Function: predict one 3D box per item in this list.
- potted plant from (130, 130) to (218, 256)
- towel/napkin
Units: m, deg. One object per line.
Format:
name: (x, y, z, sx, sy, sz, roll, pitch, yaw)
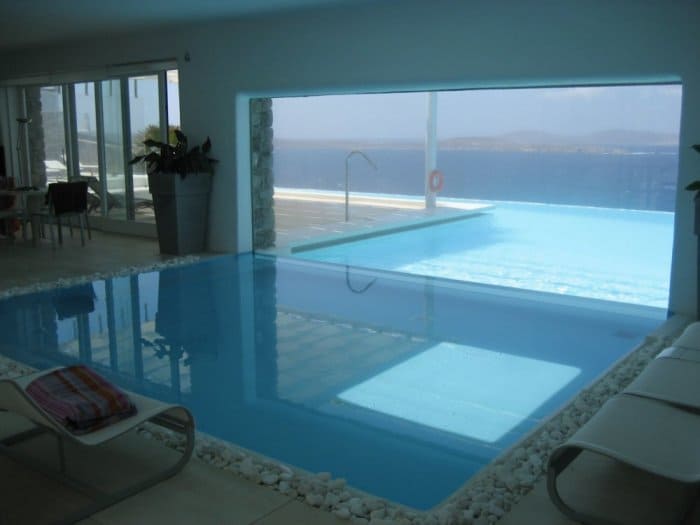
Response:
potted plant: (-2.422, -1.007, 7.368, 0.951, 1.742, 0.529, -5, 15, -22)
towel/napkin: (-1.358, 0.652, 2.503, 0.370, 0.099, 0.301, 25, 25, 33)
